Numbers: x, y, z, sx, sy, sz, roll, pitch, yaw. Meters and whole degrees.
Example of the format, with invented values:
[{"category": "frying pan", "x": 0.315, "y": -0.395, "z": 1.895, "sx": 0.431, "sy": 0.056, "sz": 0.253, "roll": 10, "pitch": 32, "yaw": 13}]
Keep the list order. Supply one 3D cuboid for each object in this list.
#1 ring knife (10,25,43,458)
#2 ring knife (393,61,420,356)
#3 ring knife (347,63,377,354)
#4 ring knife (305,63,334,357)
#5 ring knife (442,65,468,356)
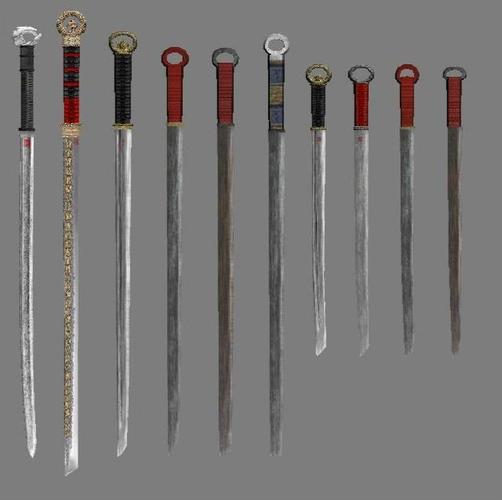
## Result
[{"category": "ring knife", "x": -0.905, "y": 0.028, "z": 6.891, "sx": 0.184, "sy": 2.047, "sz": 0.087, "roll": -2, "pitch": 30, "yaw": -12}, {"category": "ring knife", "x": 0.666, "y": -0.168, "z": 7.061, "sx": 0.096, "sy": 1.191, "sz": 0.238, "roll": -2, "pitch": -3, "yaw": -11}, {"category": "ring knife", "x": 0.422, "y": -0.241, "z": 6.454, "sx": 0.112, "sy": 1.181, "sz": 0.077, "roll": -1, "pitch": -5, "yaw": 0}, {"category": "ring knife", "x": 0.298, "y": -0.162, "z": 6.977, "sx": 0.106, "sy": 1.185, "sz": 0.253, "roll": -2, "pitch": -3, "yaw": 2}, {"category": "ring knife", "x": 0.856, "y": -0.200, "z": 7.128, "sx": 0.114, "sy": 1.179, "sz": 0.045, "roll": 9, "pitch": -12, "yaw": -37}]
